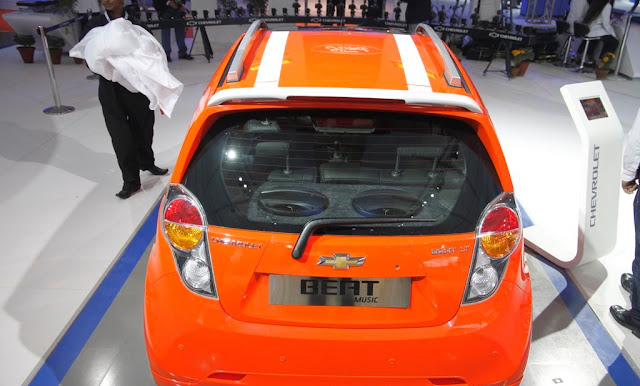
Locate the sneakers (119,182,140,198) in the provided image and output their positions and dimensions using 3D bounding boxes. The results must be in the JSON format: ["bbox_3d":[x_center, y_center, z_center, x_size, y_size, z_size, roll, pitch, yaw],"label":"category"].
[{"bbox_3d":[-2.434,-0.064,5.061,0.121,0.148,0.355,13,25,19],"label":"sneakers"}]

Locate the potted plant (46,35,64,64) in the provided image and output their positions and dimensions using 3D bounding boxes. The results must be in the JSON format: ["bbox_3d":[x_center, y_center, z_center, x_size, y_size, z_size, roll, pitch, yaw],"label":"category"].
[{"bbox_3d":[-6.833,-3.746,10.143,0.357,0.648,0.547,-16,36,-23],"label":"potted plant"}]

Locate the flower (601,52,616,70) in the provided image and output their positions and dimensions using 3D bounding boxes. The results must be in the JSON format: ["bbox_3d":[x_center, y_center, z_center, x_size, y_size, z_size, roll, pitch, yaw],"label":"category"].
[{"bbox_3d":[7.253,-3.351,9.833,0.268,0.348,0.611,23,38,31],"label":"flower"}]

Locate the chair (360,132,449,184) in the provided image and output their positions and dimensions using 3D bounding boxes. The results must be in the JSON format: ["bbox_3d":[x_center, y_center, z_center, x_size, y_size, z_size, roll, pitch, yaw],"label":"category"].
[{"bbox_3d":[0.542,-0.205,2.400,0.446,0.299,0.159,0,2,-2],"label":"chair"}]

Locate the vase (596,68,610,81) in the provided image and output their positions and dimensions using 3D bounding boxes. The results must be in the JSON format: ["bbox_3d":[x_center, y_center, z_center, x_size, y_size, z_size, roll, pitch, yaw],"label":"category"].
[{"bbox_3d":[7.112,-3.020,9.907,0.371,0.268,0.361,1,26,4],"label":"vase"}]

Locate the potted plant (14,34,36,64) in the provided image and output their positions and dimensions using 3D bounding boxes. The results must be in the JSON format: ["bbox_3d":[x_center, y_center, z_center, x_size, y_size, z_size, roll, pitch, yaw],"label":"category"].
[{"bbox_3d":[-7.471,-3.697,9.969,0.426,0.610,0.634,-21,38,-30],"label":"potted plant"}]
